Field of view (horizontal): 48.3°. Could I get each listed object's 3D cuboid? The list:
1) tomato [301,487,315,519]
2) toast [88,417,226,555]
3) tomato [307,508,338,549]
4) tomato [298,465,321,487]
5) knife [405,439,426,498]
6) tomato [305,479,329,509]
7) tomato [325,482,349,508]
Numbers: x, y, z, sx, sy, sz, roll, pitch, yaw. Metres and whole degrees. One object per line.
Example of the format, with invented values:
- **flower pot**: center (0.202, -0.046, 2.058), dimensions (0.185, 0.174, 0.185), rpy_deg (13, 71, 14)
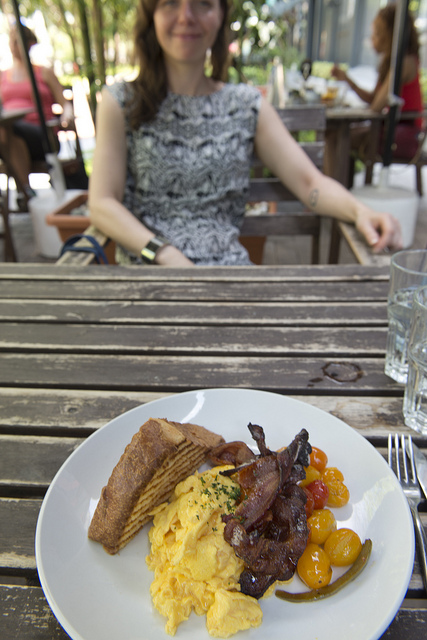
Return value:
- **tomato**: center (0.111, 0.210, 0.549), dimensions (0.014, 0.031, 0.031), rpy_deg (-3, 59, 2)
- **toast**: center (-0.068, 0.182, 0.574), dimensions (0.066, 0.111, 0.208), rpy_deg (23, 39, 35)
- **tomato**: center (0.124, 0.231, 0.526), dimensions (0.028, 0.019, 0.036), rpy_deg (1, 63, 2)
- **tomato**: center (0.118, 0.188, 0.576), dimensions (0.024, 0.017, 0.029), rpy_deg (5, 30, 37)
- **knife**: center (0.252, 0.187, 0.607), dimensions (0.012, 0.010, 0.073), rpy_deg (13, 48, -20)
- **tomato**: center (0.122, 0.203, 0.557), dimensions (0.021, 0.014, 0.027), rpy_deg (-1, 57, -12)
- **tomato**: center (0.145, 0.204, 0.557), dimensions (0.023, 0.014, 0.025), rpy_deg (-12, 33, 0)
